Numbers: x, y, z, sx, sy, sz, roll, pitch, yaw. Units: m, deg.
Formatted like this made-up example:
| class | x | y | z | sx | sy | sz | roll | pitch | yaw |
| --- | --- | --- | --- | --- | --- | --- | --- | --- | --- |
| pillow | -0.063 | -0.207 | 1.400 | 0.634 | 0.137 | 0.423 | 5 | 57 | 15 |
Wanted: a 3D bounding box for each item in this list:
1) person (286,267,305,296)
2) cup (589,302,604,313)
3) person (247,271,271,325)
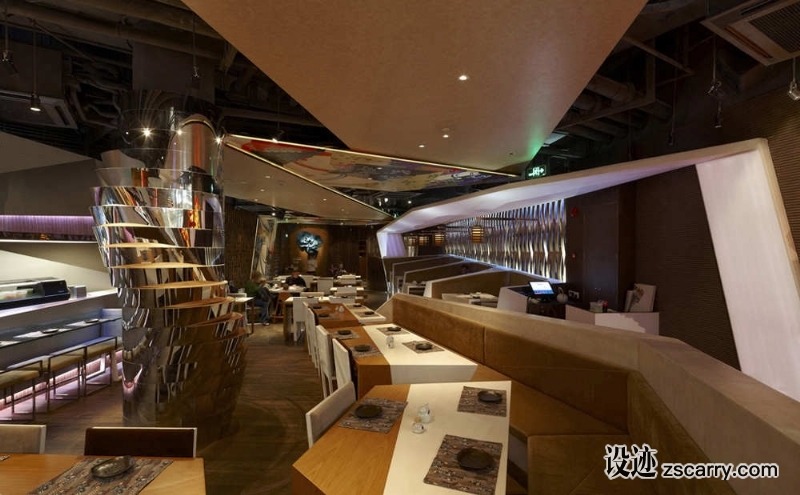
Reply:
| class | x | y | z | sx | sy | sz | roll | pitch | yaw |
| --- | --- | --- | --- | --- | --- | --- | --- | --- | --- |
| person | -3.380 | 1.089 | 15.106 | 0.609 | 0.855 | 0.484 | -5 | -15 | 3 |
| cup | 3.840 | 1.158 | 9.111 | 0.180 | 0.209 | 0.318 | 1 | -5 | 5 |
| person | -3.732 | 1.359 | 12.581 | 0.508 | 1.420 | 0.643 | -2 | -3 | -17 |
